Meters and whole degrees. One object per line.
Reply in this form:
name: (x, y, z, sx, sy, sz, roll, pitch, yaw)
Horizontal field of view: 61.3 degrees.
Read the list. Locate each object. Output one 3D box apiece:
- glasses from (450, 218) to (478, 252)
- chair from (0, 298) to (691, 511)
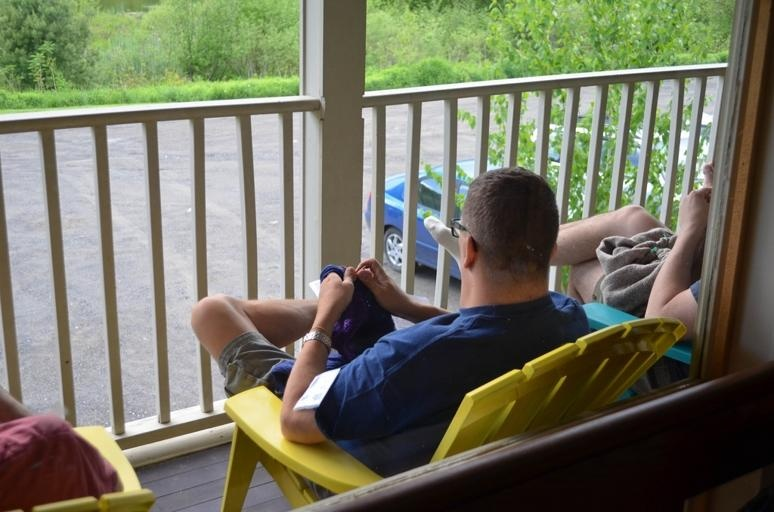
glasses: (0.213, -0.052, 1.836, 0.077, 0.025, 0.080, 11, 28, -37)
chair: (0.086, 0.201, 1.934, 1.164, 0.510, 0.715, 10, 13, 43)
